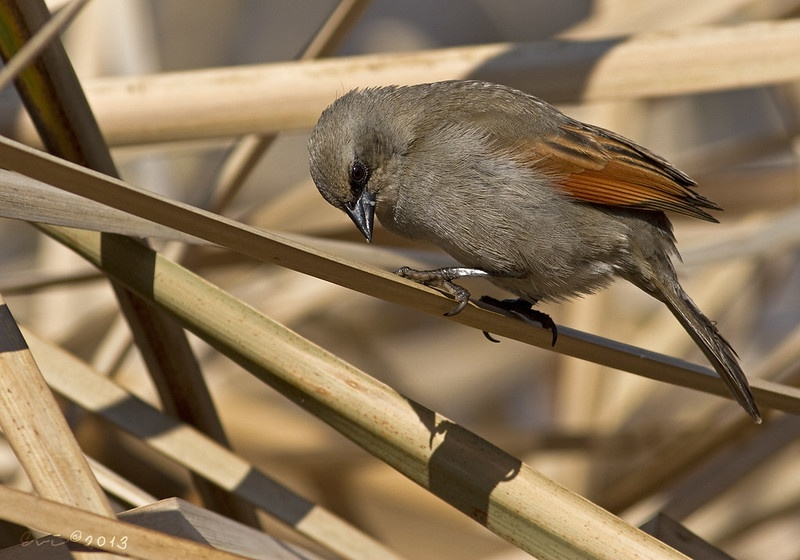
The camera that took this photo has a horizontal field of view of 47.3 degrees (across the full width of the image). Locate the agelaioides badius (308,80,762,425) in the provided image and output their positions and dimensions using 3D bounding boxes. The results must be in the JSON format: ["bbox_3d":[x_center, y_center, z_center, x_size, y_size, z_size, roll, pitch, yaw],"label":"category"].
[{"bbox_3d":[0.444,-0.170,3.541,1.533,1.040,0.513,-4,6,12],"label":"agelaioides badius"}]
